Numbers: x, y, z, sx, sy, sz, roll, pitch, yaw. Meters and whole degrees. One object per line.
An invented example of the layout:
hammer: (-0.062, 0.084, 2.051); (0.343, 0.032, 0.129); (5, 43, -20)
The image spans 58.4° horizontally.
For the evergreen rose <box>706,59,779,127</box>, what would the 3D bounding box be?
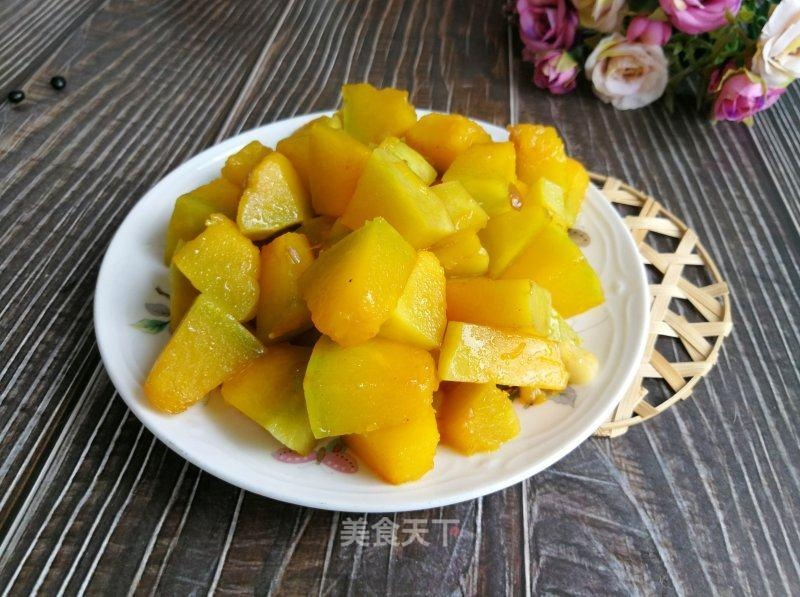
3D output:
evergreen rose: (0.830, -0.484, 1.731); (0.150, 0.148, 0.094); (-3, 37, 1)

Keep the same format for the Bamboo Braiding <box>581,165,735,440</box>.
Bamboo Braiding: (0.533, 0.016, 1.332); (0.447, 0.014, 0.433); (-1, 55, -18)

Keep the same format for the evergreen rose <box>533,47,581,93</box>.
evergreen rose: (0.403, -0.590, 1.846); (0.098, 0.061, 0.118); (18, 40, 14)

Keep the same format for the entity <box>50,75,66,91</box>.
entity: (-0.840, -0.531, 1.766); (0.045, 0.023, 0.041); (6, 57, -2)

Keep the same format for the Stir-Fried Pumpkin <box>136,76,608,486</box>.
Stir-Fried Pumpkin: (-0.015, -0.058, 1.183); (0.770, 0.251, 0.695); (20, 73, 1)

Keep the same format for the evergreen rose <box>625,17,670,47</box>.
evergreen rose: (0.600, -0.627, 1.712); (0.080, 0.038, 0.085); (-7, 12, 6)

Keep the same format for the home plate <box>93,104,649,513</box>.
home plate: (-0.034, 0.014, 1.405); (0.955, 0.553, 0.798); (-1, 30, 0)
